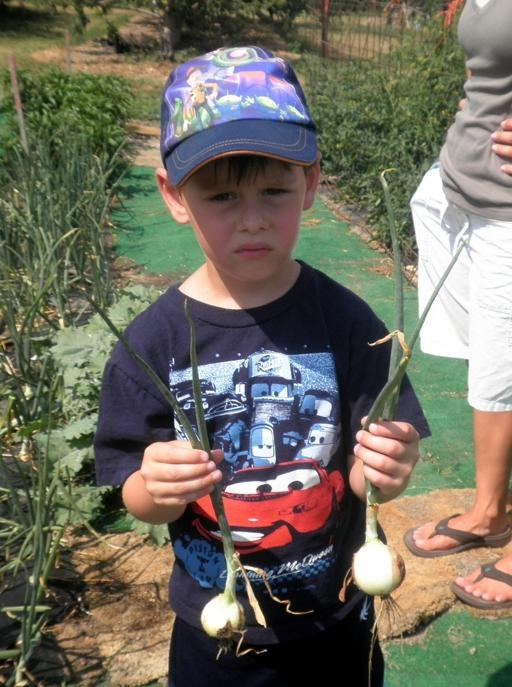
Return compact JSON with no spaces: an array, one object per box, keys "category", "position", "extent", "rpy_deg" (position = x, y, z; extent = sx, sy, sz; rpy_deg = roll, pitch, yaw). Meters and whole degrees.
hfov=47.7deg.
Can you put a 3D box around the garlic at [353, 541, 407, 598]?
[{"category":"garlic","position":[0.172,0.347,0.920],"extent":[0.091,0.084,0.113],"rpy_deg":[3,50,3]}]

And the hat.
[{"category":"hat","position":[-0.032,-0.452,1.065],"extent":[0.302,0.178,0.368],"rpy_deg":[2,32,5]}]
